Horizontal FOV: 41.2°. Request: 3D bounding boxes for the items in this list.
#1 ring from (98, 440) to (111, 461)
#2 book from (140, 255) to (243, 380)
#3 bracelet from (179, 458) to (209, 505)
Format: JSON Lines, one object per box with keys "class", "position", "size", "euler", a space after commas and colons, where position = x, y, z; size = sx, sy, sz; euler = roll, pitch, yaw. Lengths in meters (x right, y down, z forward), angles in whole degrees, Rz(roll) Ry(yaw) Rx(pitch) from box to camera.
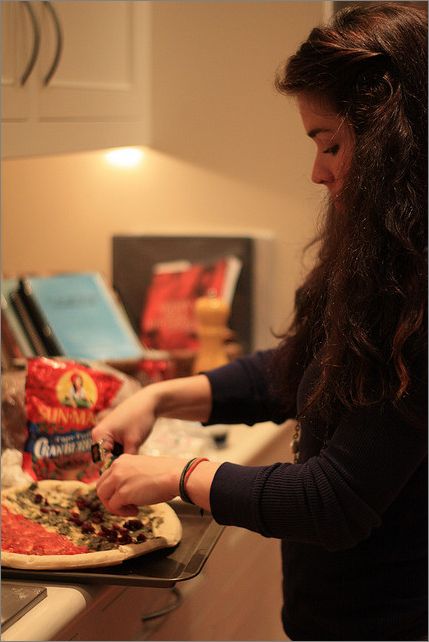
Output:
{"class": "ring", "position": [-0.140, 0.164, 0.719], "size": [0.009, 0.021, 0.021], "euler": [-3, 1, -12]}
{"class": "book", "position": [-0.047, -0.021, 1.133], "size": [0.254, 0.224, 0.060], "euler": [-1, -13, 29]}
{"class": "bracelet", "position": [-0.030, 0.172, 0.616], "size": [0.019, 0.043, 0.044], "euler": [18, 33, -29]}
